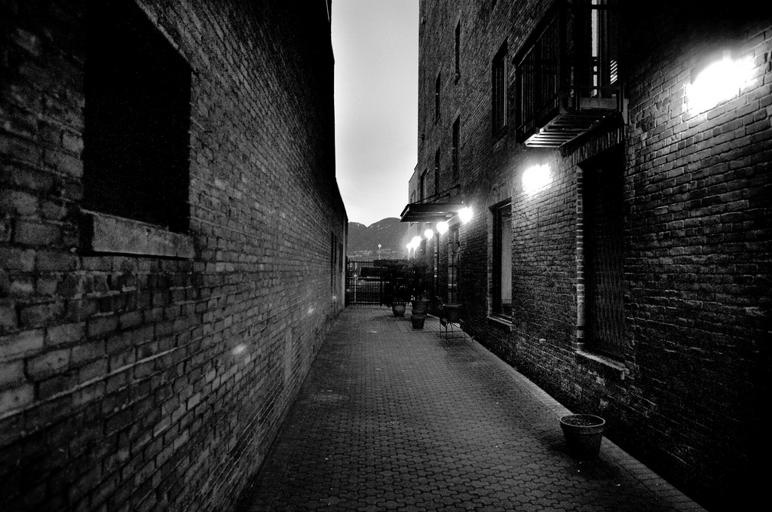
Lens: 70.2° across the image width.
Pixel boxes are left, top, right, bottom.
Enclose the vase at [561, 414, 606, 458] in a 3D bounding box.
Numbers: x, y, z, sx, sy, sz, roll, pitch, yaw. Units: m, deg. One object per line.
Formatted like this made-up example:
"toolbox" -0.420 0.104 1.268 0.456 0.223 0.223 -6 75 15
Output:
"vase" 2.277 2.033 6.178 0.369 0.325 0.402 -7 -10 -11
